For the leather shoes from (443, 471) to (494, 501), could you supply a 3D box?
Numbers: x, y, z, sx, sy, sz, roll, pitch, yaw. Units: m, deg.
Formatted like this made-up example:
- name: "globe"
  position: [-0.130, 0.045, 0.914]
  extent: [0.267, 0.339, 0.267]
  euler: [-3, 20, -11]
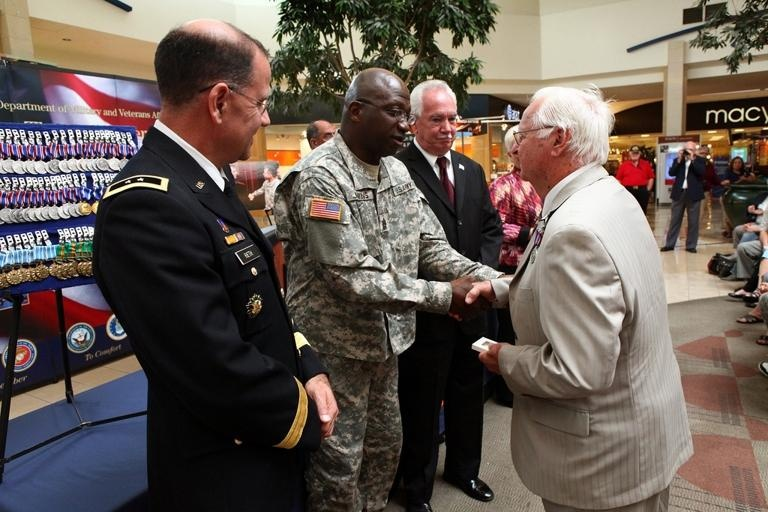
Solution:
- name: "leather shoes"
  position: [0.530, 1.401, 3.193]
  extent: [0.268, 0.121, 0.102]
  euler: [11, 21, 34]

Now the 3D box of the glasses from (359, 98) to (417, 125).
- name: "glasses"
  position: [0.010, -0.703, 2.473]
  extent: [0.153, 0.050, 0.151]
  euler: [24, 5, 13]

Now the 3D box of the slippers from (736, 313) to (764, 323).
- name: "slippers"
  position: [3.834, 0.646, 5.459]
  extent: [0.212, 0.063, 0.084]
  euler: [0, 3, -8]

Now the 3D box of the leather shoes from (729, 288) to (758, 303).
- name: "leather shoes"
  position: [4.270, 0.464, 6.161]
  extent: [0.320, 0.133, 0.116]
  euler: [2, 3, 43]

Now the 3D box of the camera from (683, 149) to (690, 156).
- name: "camera"
  position: [5.485, -1.905, 9.438]
  extent: [0.100, 0.057, 0.105]
  euler: [-1, 5, 10]

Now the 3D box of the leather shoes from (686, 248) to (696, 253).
- name: "leather shoes"
  position: [5.471, -0.114, 9.253]
  extent: [0.061, 0.071, 0.172]
  euler: [-1, -2, -9]

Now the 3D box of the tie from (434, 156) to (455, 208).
- name: "tie"
  position: [0.378, -0.493, 3.241]
  extent: [0.080, 0.377, 0.050]
  euler: [-6, -25, -6]

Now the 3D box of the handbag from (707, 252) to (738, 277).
- name: "handbag"
  position: [4.822, 0.092, 7.390]
  extent: [0.185, 0.425, 0.318]
  euler: [23, -19, -35]
